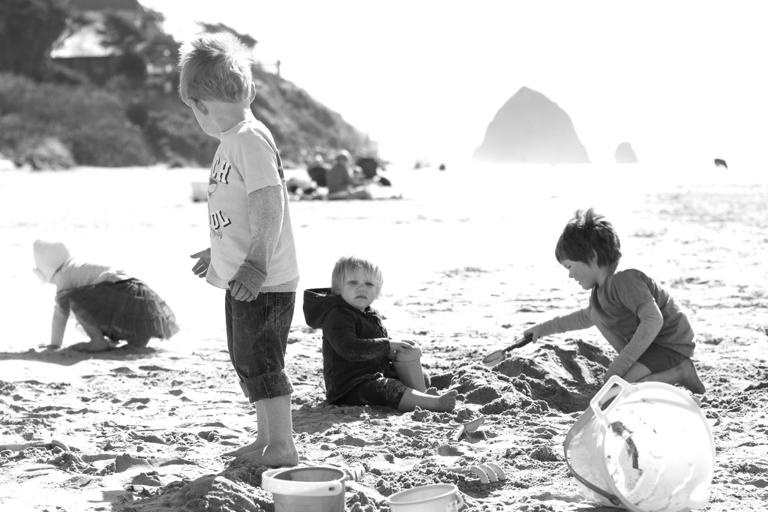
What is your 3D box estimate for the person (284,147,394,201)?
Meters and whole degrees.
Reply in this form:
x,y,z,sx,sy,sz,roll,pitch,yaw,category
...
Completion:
x,y,z,sx,sy,sz,roll,pitch,yaw,category
-1.037,-1.694,33.935,1.573,0.617,1.959,3,7,27,person
